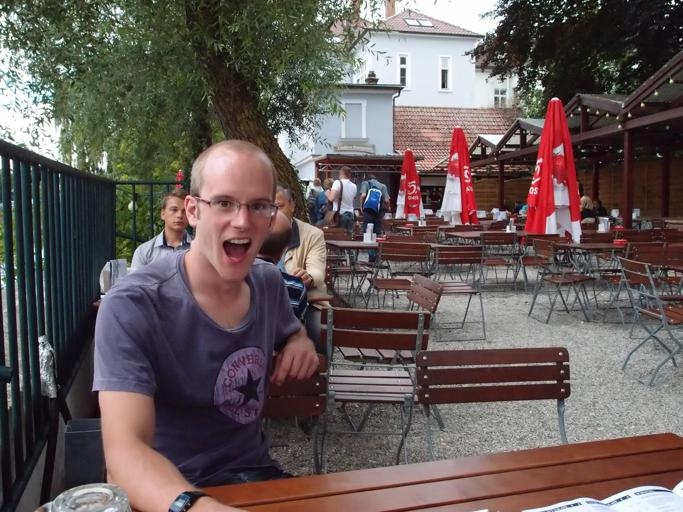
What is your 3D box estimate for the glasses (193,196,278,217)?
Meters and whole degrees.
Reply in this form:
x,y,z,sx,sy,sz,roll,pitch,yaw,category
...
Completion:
x,y,z,sx,sy,sz,roll,pitch,yaw,category
-0.398,-0.180,2.135,0.304,0.074,0.090,-1,4,-10,glasses
